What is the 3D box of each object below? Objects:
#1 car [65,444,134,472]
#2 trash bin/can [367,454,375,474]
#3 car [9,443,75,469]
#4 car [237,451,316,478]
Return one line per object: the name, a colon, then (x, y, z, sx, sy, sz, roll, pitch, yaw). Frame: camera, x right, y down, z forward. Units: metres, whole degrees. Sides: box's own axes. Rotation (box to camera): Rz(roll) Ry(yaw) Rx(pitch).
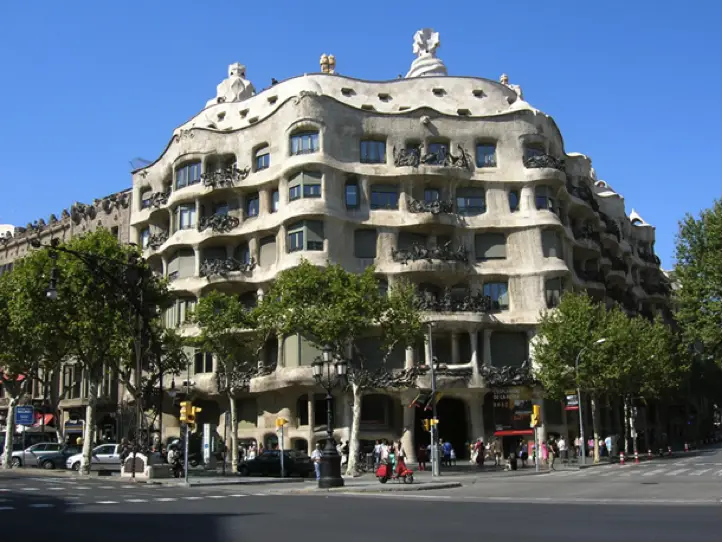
car: (-16.825, 12.032, 53.503, 3.721, 1.777, 2.283, 2, -16, -4)
trash bin/can: (0.655, 12.413, 54.069, 0.502, 1.206, 1.580, -5, -17, 9)
car: (-21.414, 12.391, 55.944, 3.869, 1.448, 1.801, 1, -12, -6)
car: (-5.003, 11.947, 51.247, 4.056, 1.280, 1.911, -4, -15, 23)
